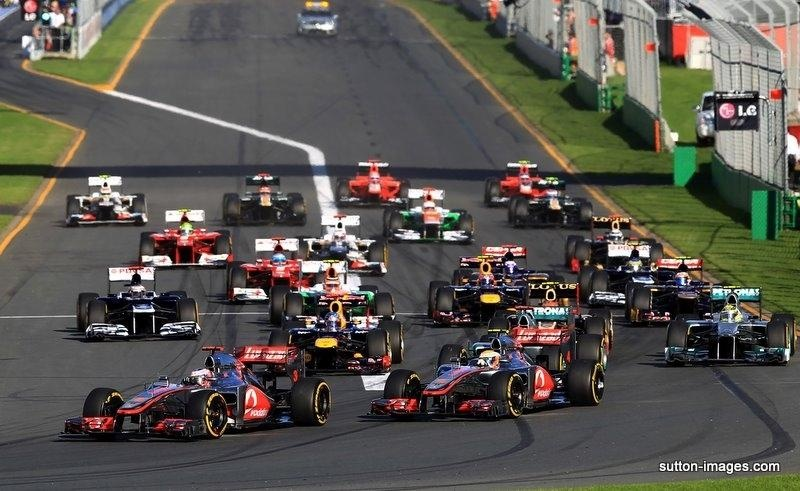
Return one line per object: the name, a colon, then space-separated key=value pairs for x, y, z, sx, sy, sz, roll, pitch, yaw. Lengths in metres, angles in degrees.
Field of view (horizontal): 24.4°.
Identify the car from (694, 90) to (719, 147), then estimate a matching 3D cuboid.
car: x=17.884 y=-7.299 z=107.861 sx=1.020 sy=3.171 sz=2.154 roll=3 pitch=10 yaw=8
